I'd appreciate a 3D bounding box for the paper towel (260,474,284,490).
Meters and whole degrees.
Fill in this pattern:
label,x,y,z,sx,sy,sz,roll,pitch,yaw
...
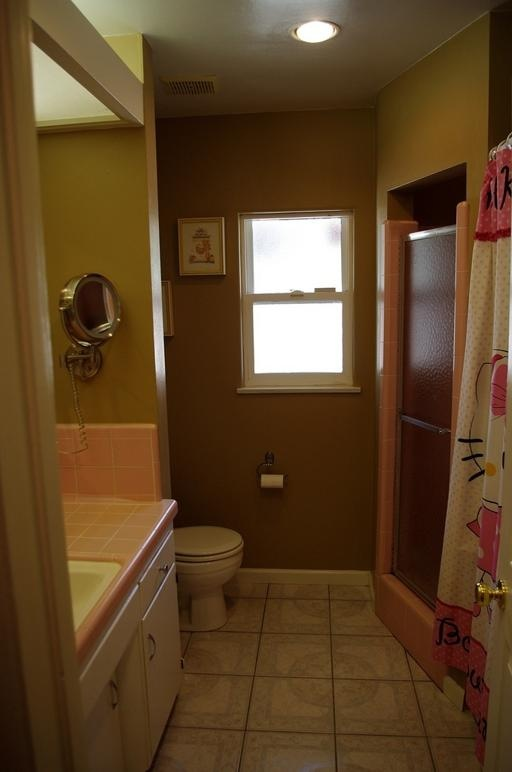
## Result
label,x,y,z,sx,sy,sz,roll,pitch,yaw
paper towel,0.079,0.501,2.922,0.120,0.099,0.123,-1,5,4

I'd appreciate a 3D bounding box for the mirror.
label,x,y,z,sx,sy,sz,roll,pitch,yaw
mirror,-0.573,-0.224,1.945,0.114,0.481,0.257,6,12,29

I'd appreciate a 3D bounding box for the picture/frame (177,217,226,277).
label,x,y,z,sx,sy,sz,roll,pitch,yaw
picture/frame,-0.271,-0.713,2.830,0.232,0.345,0.012,0,5,4

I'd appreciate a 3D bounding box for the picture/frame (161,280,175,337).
label,x,y,z,sx,sy,sz,roll,pitch,yaw
picture/frame,-0.449,-0.392,2.863,0.052,0.286,0.125,-2,5,-9

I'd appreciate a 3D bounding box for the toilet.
label,x,y,z,sx,sy,sz,roll,pitch,yaw
toilet,-0.198,0.874,2.588,0.345,0.389,0.335,-3,5,13
